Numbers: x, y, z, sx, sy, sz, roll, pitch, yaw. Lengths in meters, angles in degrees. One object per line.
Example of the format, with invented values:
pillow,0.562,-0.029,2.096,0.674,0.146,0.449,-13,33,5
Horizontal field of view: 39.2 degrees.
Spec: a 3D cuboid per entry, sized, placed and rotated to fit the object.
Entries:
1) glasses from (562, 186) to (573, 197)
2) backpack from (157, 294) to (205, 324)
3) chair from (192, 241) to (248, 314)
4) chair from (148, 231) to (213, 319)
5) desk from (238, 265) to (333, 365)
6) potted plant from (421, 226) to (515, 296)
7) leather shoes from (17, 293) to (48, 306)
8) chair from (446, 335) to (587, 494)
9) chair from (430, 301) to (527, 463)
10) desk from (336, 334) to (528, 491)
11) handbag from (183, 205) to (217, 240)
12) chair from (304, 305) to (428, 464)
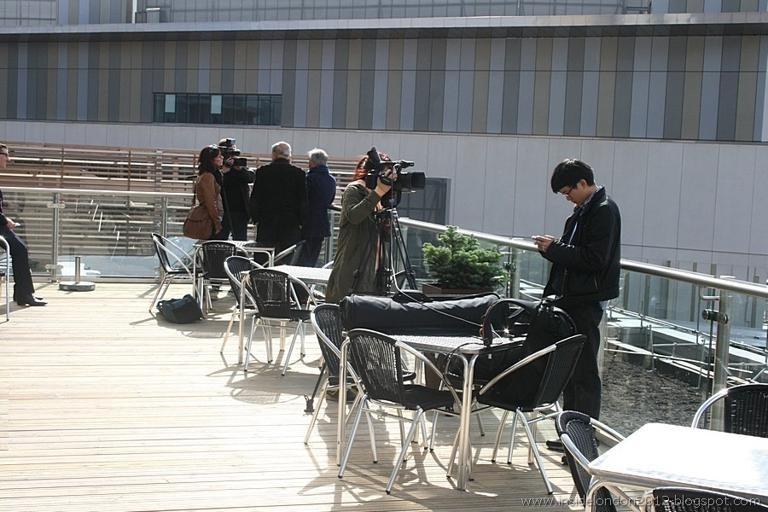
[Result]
glasses,2.850,-1.034,16.943,0.042,0.148,0.123,-2,5,-40
backpack,-4.009,1.042,20.870,0.500,0.389,0.695,-14,4,-34
chair,-3.410,0.372,20.829,0.804,1.285,0.803,-1,2,26
chair,-4.090,0.308,21.573,0.888,1.528,0.981,1,7,-10
desk,-1.640,0.946,19.394,1.637,2.418,1.525,1,7,6
potted plant,1.327,0.077,18.743,1.102,0.946,1.070,1,1,-12
leather shoes,-6.954,0.817,21.289,0.626,0.325,0.225,-2,2,-18
chair,2.155,2.360,17.179,1.698,2.485,1.828,4,2,8
chair,1.801,1.793,17.028,1.637,2.751,2.009,1,0,-12
desk,0.298,2.293,17.037,1.590,2.488,1.594,-4,8,-30
handbag,-3.632,-0.675,21.483,0.500,0.606,0.301,3,14,-4
chair,-0.275,2.058,18.259,1.987,3.303,2.239,1,-2,-7
